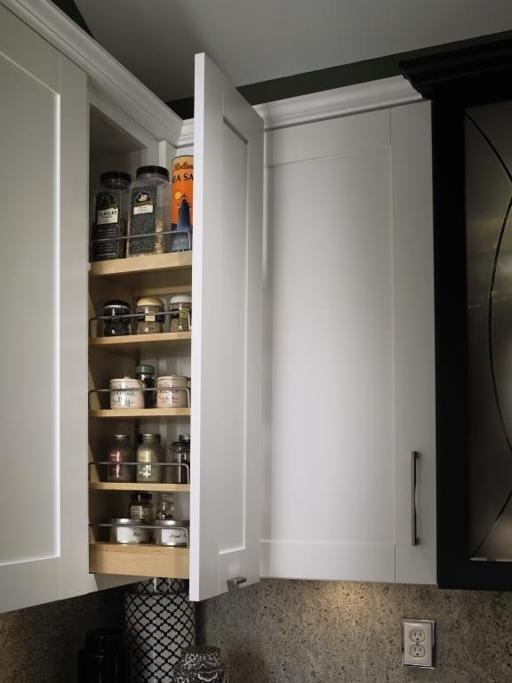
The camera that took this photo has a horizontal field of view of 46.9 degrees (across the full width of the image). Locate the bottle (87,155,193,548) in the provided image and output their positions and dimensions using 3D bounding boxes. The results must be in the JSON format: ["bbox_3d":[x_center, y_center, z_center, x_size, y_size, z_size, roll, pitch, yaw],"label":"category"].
[{"bbox_3d":[-0.228,0.046,1.210,0.179,0.932,0.198,-2,0,18],"label":"bottle"}]

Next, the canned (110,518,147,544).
[{"bbox_3d":[-0.243,0.356,1.111,0.056,0.043,0.060,-3,-6,24],"label":"canned"}]

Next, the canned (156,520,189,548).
[{"bbox_3d":[-0.163,0.357,1.108,0.051,0.040,0.057,-1,-3,7],"label":"canned"}]

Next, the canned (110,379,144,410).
[{"bbox_3d":[-0.255,0.104,1.156,0.057,0.066,0.062,-1,-3,12],"label":"canned"}]

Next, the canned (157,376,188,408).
[{"bbox_3d":[-0.168,0.106,1.171,0.056,0.073,0.061,1,-9,-17],"label":"canned"}]
